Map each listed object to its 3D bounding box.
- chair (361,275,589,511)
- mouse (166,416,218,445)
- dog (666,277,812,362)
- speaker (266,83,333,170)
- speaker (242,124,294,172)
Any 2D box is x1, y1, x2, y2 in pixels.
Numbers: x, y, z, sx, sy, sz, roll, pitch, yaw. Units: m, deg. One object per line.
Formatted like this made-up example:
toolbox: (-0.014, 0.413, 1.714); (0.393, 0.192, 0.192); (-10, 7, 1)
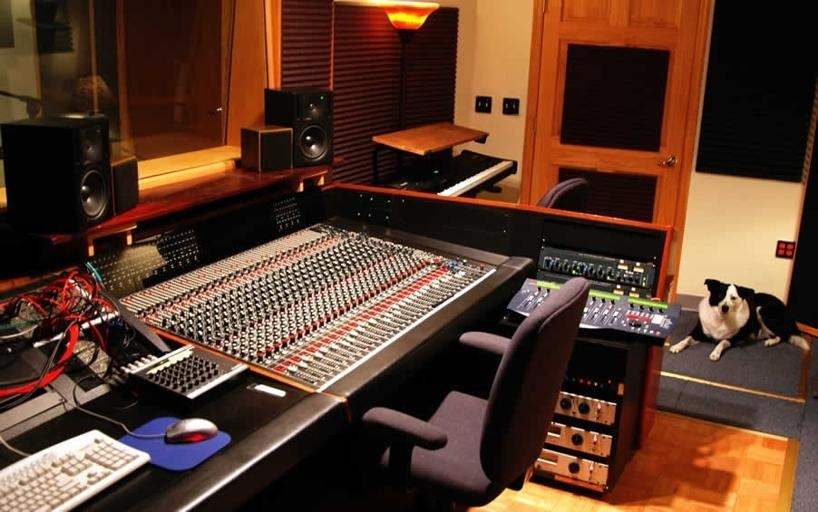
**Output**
chair: (0.305, 0.607, 2.580); (0.675, 1.076, 0.813); (17, 29, 28)
mouse: (-0.732, 0.585, 1.983); (0.136, 0.043, 0.081); (-2, 22, -14)
dog: (2.491, 0.423, 4.474); (0.876, 0.466, 0.607); (-12, 20, -24)
speaker: (-0.616, -0.750, 3.351); (0.308, 0.385, 0.309); (18, 25, 35)
speaker: (-0.763, -0.585, 3.206); (0.260, 0.211, 0.259); (11, 20, 27)
